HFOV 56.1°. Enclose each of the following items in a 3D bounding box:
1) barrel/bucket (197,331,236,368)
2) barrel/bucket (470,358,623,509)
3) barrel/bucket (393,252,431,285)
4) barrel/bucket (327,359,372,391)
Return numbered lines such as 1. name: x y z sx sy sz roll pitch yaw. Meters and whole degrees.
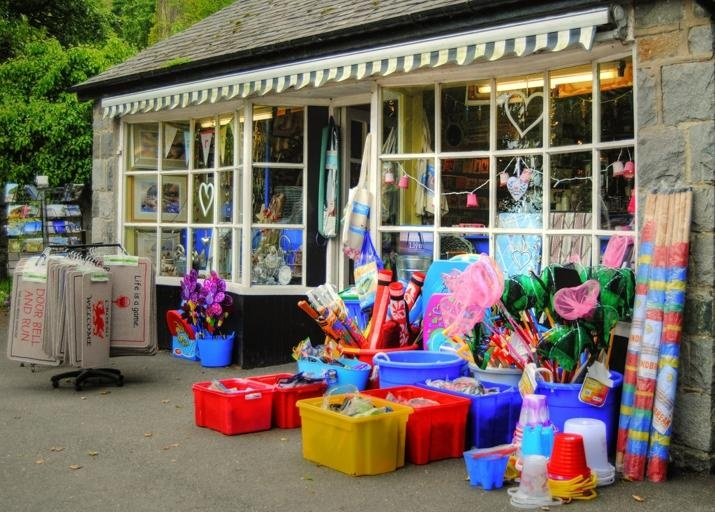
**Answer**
1. barrel/bucket: -1.700 1.074 7.981 0.395 0.302 0.404 0 2 0
2. barrel/bucket: 1.671 1.375 5.136 0.777 0.688 0.862 1 14 6
3. barrel/bucket: 0.567 0.128 6.893 0.270 0.252 0.320 3 -5 -8
4. barrel/bucket: -0.082 1.087 6.169 0.322 0.188 0.237 4 -6 -24
